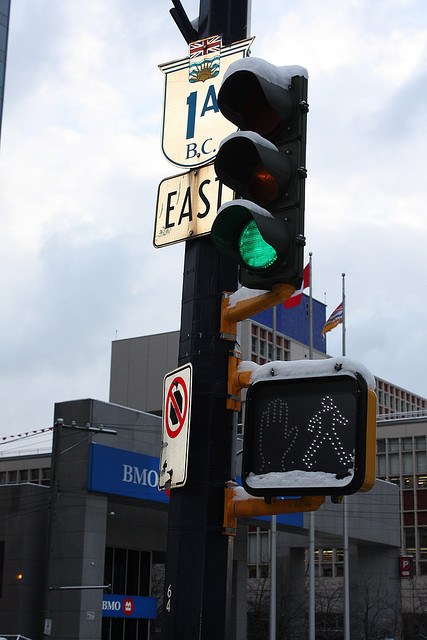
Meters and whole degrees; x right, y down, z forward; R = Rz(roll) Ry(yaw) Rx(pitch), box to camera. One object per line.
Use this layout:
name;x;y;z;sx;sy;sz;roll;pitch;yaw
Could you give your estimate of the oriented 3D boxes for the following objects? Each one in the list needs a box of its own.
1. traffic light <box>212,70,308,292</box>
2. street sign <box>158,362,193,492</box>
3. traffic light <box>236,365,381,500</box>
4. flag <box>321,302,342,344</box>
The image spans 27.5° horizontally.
traffic light;0.162;-0.583;3.554;0.378;0.898;0.406;13;-17;-41
street sign;-0.182;0.534;4.335;0.096;0.612;0.415;5;-14;-15
traffic light;0.349;0.386;3.183;0.216;0.530;0.651;13;-18;-42
flag;5.656;-0.106;41.056;0.937;1.715;2.643;-1;-14;8
